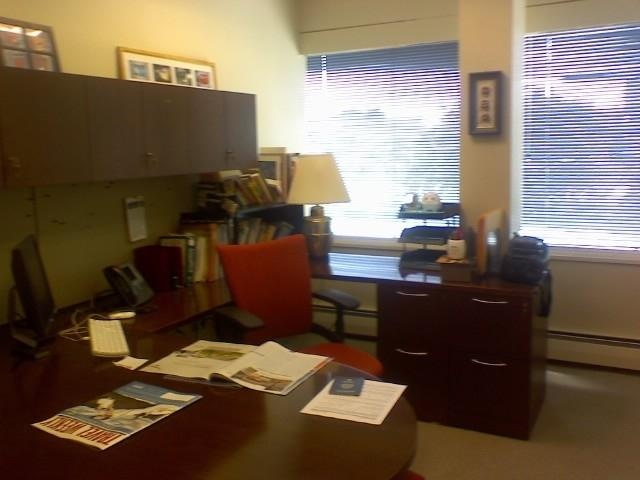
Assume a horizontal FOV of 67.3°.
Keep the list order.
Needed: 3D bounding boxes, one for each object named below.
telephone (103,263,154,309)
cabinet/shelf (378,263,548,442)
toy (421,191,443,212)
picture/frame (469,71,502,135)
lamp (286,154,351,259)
[{"bbox_3d":[-1.119,0.262,2.823,0.193,0.220,0.198,4,15,19],"label":"telephone"},{"bbox_3d":[0.897,0.641,3.428,1.401,1.266,0.896,0,0,24],"label":"cabinet/shelf"},{"bbox_3d":[0.789,-0.270,3.423,0.163,0.116,0.153,11,19,39],"label":"toy"},{"bbox_3d":[1.116,-0.914,3.237,0.224,0.414,0.093,3,15,14],"label":"picture/frame"},{"bbox_3d":[-0.025,-0.240,3.716,0.470,0.752,0.476,-5,0,28],"label":"lamp"}]
